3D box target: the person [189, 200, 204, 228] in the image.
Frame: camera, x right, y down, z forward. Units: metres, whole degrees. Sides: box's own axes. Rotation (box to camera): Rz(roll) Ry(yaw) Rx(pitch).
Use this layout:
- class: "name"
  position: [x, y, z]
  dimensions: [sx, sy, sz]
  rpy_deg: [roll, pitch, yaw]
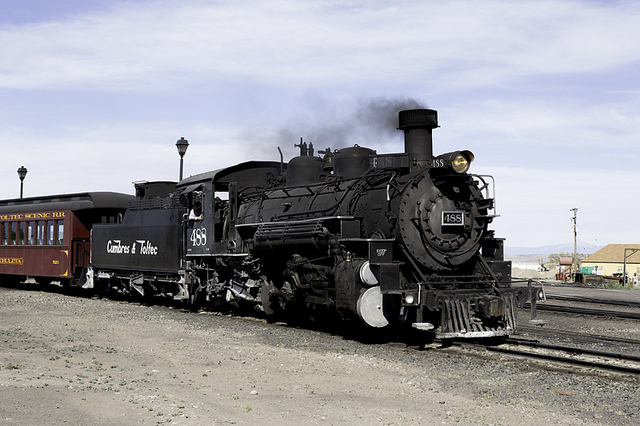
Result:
- class: "person"
  position: [-4.050, 0.006, 20.182]
  dimensions: [0.637, 0.796, 0.304]
  rpy_deg: [10, 4, 40]

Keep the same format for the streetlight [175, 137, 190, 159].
- class: "streetlight"
  position: [-5.215, -2.538, 23.213]
  dimensions: [0.328, 0.862, 1.829]
  rpy_deg: [0, 2, -14]
